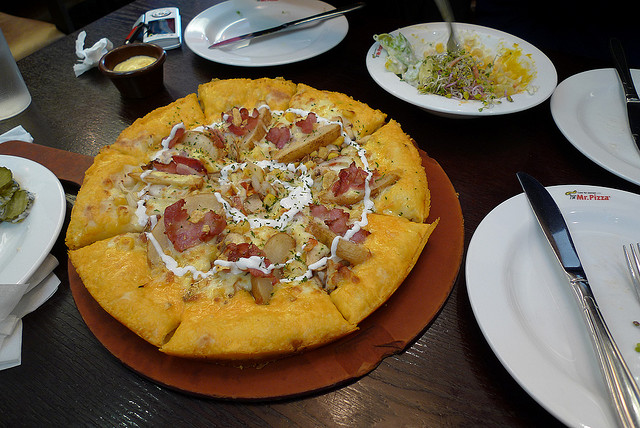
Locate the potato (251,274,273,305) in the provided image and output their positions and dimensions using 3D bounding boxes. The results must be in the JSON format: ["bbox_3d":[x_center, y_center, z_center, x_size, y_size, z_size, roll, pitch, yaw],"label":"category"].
[{"bbox_3d":[-0.279,0.362,2.152,0.101,0.070,0.126,1,59,7],"label":"potato"}]

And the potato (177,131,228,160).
[{"bbox_3d":[-0.708,-0.354,2.729,0.285,0.301,0.079,8,73,-13],"label":"potato"}]

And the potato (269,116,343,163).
[{"bbox_3d":[-0.058,-0.396,2.540,0.253,0.288,0.074,-28,93,2],"label":"potato"}]

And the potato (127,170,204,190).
[{"bbox_3d":[-0.834,-0.177,2.464,0.307,0.060,0.068,4,43,5],"label":"potato"}]

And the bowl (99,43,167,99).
[{"bbox_3d":[-1.213,-0.926,3.022,0.403,0.220,0.397,2,40,-1],"label":"bowl"}]

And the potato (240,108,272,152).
[{"bbox_3d":[-0.338,-0.478,2.754,0.184,0.065,0.243,37,90,34],"label":"potato"}]

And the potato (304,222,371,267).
[{"bbox_3d":[0.082,0.161,2.240,0.399,0.122,0.104,28,99,-17],"label":"potato"}]

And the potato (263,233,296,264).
[{"bbox_3d":[-0.197,0.163,2.246,0.131,0.039,0.143,43,72,-13],"label":"potato"}]

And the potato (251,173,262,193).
[{"bbox_3d":[-0.336,-0.161,2.451,0.045,0.019,0.077,-21,89,-25],"label":"potato"}]
